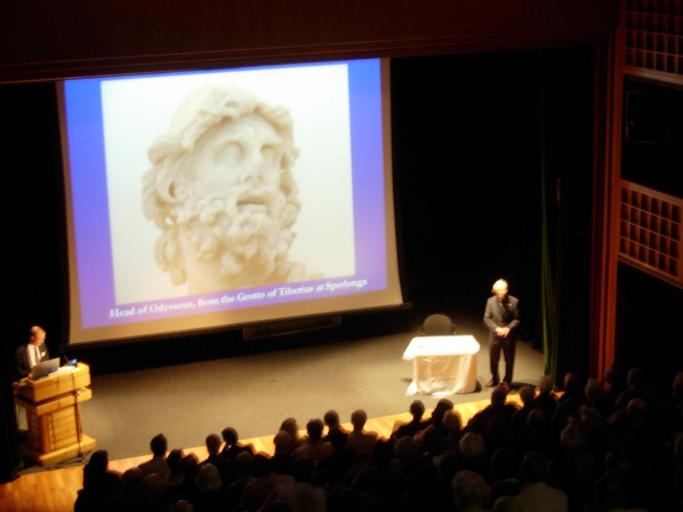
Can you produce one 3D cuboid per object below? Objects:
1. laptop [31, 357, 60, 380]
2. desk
[{"bbox_3d":[-2.995,1.115,6.004,0.190,0.194,0.272,25,27,36],"label":"laptop"},{"bbox_3d":[1.191,1.278,7.119,0.757,0.482,0.641,0,15,2],"label":"desk"}]
